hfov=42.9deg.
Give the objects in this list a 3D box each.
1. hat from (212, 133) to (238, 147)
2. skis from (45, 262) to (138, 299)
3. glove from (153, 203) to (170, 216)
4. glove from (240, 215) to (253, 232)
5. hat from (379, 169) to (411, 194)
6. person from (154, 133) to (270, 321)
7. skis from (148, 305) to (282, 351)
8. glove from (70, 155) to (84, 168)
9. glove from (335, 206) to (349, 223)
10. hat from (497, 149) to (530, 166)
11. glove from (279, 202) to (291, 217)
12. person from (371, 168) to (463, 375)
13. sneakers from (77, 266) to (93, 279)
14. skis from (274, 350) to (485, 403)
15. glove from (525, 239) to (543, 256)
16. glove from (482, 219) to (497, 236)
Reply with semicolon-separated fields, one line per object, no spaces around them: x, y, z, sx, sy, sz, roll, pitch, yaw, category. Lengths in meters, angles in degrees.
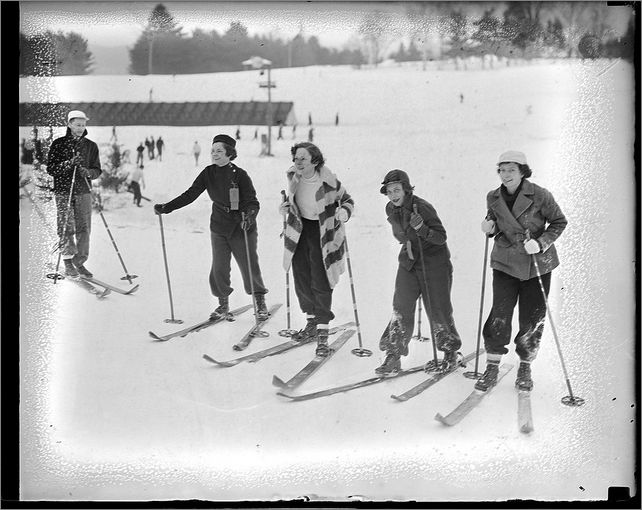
-0.803;-0.952;6.844;0.140;0.056;0.106;11;-4;4;hat
-1.912;0.200;6.848;0.729;0.298;0.156;-2;6;-9;skis
-1.338;-0.385;6.811;0.106;0.079;0.060;4;-22;-13;glove
-0.610;-0.281;6.843;0.059;0.077;0.193;4;39;-8;glove
0.571;-0.574;6.329;0.213;0.127;0.163;-4;5;-6;hat
-0.847;-0.228;6.858;0.780;1.561;0.279;-1;6;-5;person
-0.921;0.516;6.860;1.009;0.121;0.112;-20;12;-20;skis
-2.052;-0.794;6.867;0.089;0.090;0.026;-10;16;-34;glove
0.169;-0.324;6.491;0.106;0.105;0.107;-1;-2;3;glove
1.466;-0.741;6.216;0.165;0.077;0.230;2;5;26;hat
-0.299;-0.384;6.672;0.083;0.104;0.092;-1;6;-7;glove
0.756;0.140;6.389;0.660;1.607;0.274;0;6;10;person
-1.972;0.146;6.847;0.149;0.063;0.061;13;15;42;sneakers
0.475;0.966;6.412;1.134;0.088;0.096;-14;-30;-8;skis
1.585;-0.065;6.109;0.136;0.124;0.089;-1;6;-3;glove
1.269;-0.213;6.211;0.106;0.110;0.031;5;-6;27;glove
